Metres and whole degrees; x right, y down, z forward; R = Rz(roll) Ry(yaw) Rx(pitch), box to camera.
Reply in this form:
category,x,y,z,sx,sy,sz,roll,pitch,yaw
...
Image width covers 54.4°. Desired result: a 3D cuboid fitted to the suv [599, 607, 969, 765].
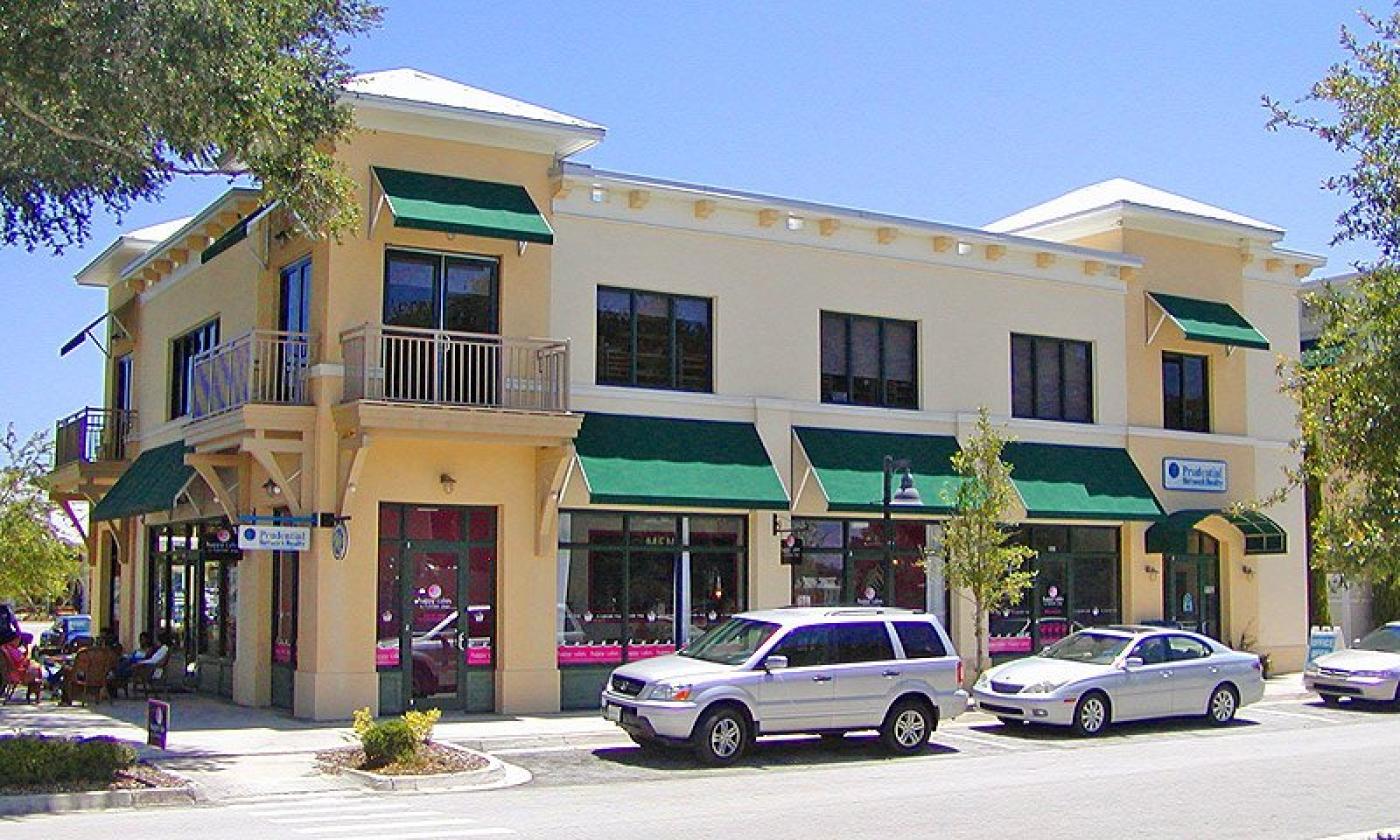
category,x,y,z,sx,sy,sz,roll,pitch,yaw
suv,1.703,5.151,26.949,5.984,2.317,3.073,4,-10,-23

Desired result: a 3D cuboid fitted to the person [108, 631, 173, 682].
category,x,y,z,sx,sy,sz,roll,pitch,yaw
person,-13.305,5.757,32.845,1.333,0.794,1.630,-16,2,-43

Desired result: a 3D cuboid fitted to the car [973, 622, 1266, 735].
category,x,y,z,sx,sy,sz,roll,pitch,yaw
car,9.193,5.705,29.922,5.458,1.754,2.496,4,-9,-27
